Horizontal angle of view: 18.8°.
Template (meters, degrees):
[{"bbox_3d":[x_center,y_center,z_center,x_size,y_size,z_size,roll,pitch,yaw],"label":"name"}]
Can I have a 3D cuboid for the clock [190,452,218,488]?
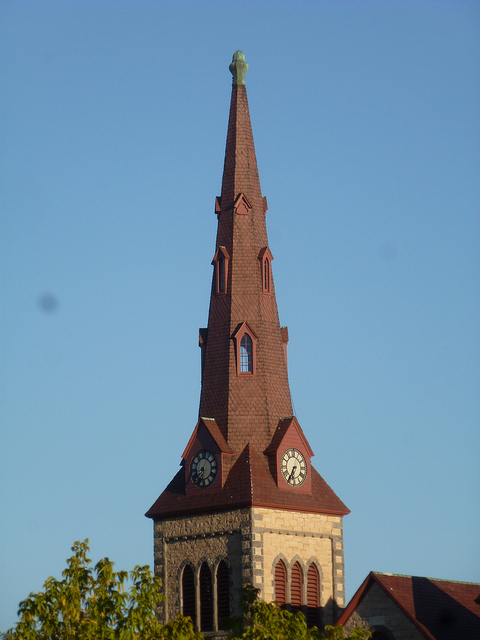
[{"bbox_3d":[-1.390,6.107,58.505,0.141,1.408,1.037,3,-5,-34],"label":"clock"}]

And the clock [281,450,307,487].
[{"bbox_3d":[2.110,6.067,58.627,0.144,1.502,1.147,-5,-1,31],"label":"clock"}]

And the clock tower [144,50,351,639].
[{"bbox_3d":[0.362,1.556,61.214,6.858,24.271,4.141,4,-27,-6],"label":"clock tower"}]
